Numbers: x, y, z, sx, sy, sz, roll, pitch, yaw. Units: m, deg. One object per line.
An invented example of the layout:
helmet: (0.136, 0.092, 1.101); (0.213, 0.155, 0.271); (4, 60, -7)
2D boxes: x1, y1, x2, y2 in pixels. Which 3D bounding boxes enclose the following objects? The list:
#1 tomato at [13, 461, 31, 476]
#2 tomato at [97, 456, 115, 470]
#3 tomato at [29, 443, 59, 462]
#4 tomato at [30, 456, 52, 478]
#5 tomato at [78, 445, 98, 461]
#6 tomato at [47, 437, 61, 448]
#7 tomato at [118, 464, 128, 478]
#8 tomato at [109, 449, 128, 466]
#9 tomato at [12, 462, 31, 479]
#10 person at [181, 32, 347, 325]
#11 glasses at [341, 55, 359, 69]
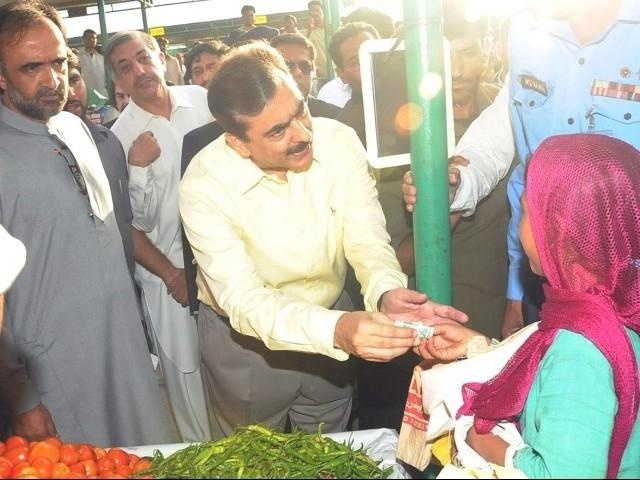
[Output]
tomato: (-1.159, 0.894, 2.114); (0.057, 0.020, 0.057); (2, 11, -20)
tomato: (-0.888, 0.935, 2.254); (0.067, 0.029, 0.054); (3, 14, 16)
tomato: (-1.131, 0.875, 2.240); (0.075, 0.076, 0.081); (13, 30, -23)
tomato: (-1.099, 0.903, 2.151); (0.070, 0.074, 0.024); (17, 22, 14)
tomato: (-0.981, 0.900, 2.284); (0.058, 0.061, 0.056); (3, -15, -26)
tomato: (-1.136, 0.871, 2.329); (0.045, 0.049, 0.046); (-1, 24, -16)
tomato: (-0.817, 0.955, 2.241); (0.046, 0.044, 0.039); (-11, -29, 26)
tomato: (-0.857, 0.920, 2.318); (0.058, 0.060, 0.057); (-6, -2, -6)
tomato: (-1.150, 0.897, 2.110); (0.072, 0.026, 0.075); (18, 7, -23)
person: (-0.527, -0.304, 3.343); (1.388, 1.436, 0.473); (-16, 15, -41)
glasses: (0.257, -1.554, 4.767); (0.112, 0.063, 0.087); (-8, 8, 41)
